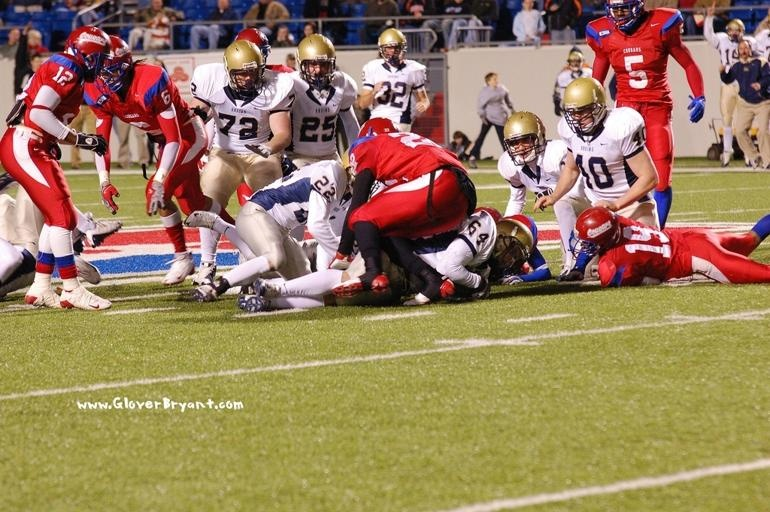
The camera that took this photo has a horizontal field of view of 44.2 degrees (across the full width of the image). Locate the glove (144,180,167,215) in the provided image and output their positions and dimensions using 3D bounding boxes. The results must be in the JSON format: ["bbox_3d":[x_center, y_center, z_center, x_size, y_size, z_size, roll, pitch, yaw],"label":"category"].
[{"bbox_3d":[-1.624,-0.452,6.845,0.101,0.329,0.085,24,-47,-22],"label":"glove"}]

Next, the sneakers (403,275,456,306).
[{"bbox_3d":[0.357,0.231,6.218,0.434,0.187,0.147,-7,-12,9],"label":"sneakers"}]

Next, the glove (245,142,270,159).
[{"bbox_3d":[-0.952,-0.814,7.419,0.144,0.059,0.144,24,10,11],"label":"glove"}]

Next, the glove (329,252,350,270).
[{"bbox_3d":[-0.298,0.037,6.331,0.058,0.122,0.178,23,7,32],"label":"glove"}]

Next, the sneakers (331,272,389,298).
[{"bbox_3d":[-0.136,0.189,6.069,0.378,0.173,0.138,-5,-38,0],"label":"sneakers"}]
